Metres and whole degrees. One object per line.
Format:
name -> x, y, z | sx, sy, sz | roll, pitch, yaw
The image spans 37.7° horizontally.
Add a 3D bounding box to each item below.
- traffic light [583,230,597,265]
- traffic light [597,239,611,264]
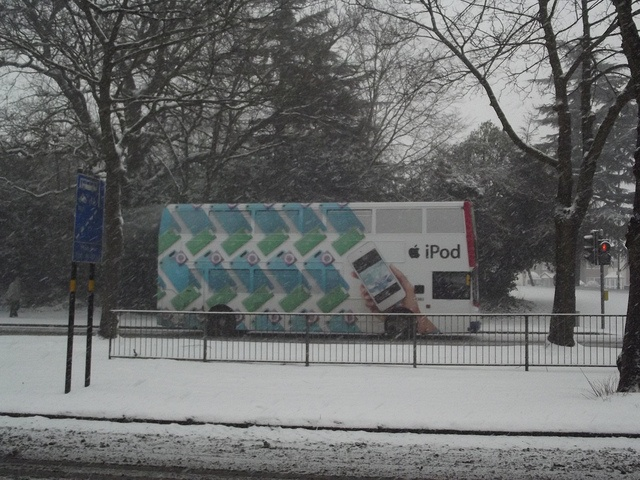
traffic light -> 9.608, 0.230, 33.238 | 0.433, 1.214, 0.874 | -2, -5, 17
traffic light -> 9.909, 0.409, 32.717 | 0.396, 0.913, 0.581 | -1, -5, 11
